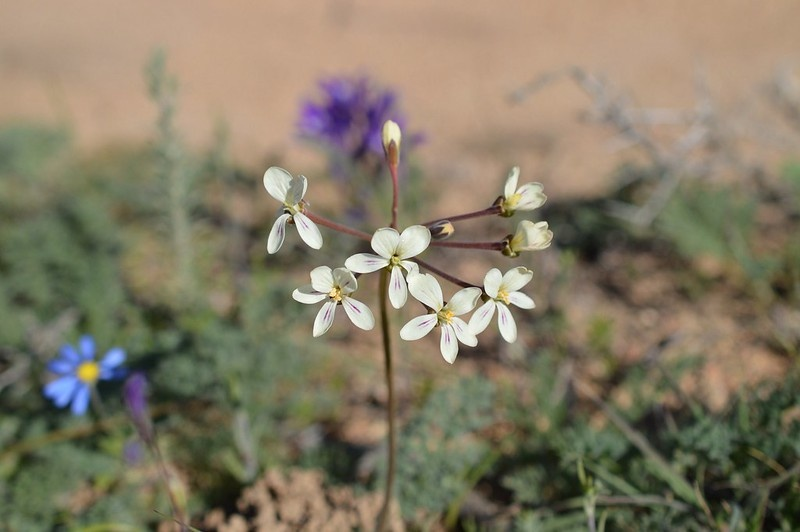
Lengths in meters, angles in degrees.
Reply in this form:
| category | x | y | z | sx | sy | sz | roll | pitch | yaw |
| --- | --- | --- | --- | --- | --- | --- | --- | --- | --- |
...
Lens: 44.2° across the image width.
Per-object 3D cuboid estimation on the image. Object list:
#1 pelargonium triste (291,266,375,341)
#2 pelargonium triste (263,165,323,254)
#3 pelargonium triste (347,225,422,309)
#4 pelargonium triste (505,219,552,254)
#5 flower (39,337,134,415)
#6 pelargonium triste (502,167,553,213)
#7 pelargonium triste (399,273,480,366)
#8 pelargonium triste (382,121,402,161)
| category | x | y | z | sx | sy | sz | roll | pitch | yaw |
| --- | --- | --- | --- | --- | --- | --- | --- | --- | --- |
| pelargonium triste | -0.167 | 0.071 | 2.499 | 0.184 | 0.065 | 0.143 | 48 | 36 | 14 |
| pelargonium triste | -0.287 | -0.148 | 2.518 | 0.132 | 0.198 | 0.139 | -14 | 19 | -5 |
| pelargonium triste | 0.007 | -0.030 | 2.501 | 0.191 | 0.094 | 0.231 | -10 | 25 | 38 |
| pelargonium triste | 0.306 | -0.062 | 2.548 | 0.142 | 0.079 | 0.088 | -12 | 8 | -17 |
| flower | -0.850 | 0.315 | 2.717 | 0.211 | 0.074 | 0.242 | -25 | 50 | 5 |
| pelargonium triste | 0.330 | -0.199 | 2.604 | 0.117 | 0.116 | 0.066 | 2 | -6 | -22 |
| pelargonium triste | 0.110 | 0.123 | 2.527 | 0.199 | 0.240 | 0.142 | -7 | 19 | 14 |
| pelargonium triste | -0.016 | -0.321 | 2.551 | 0.036 | 0.099 | 0.053 | -1 | 1 | 42 |
